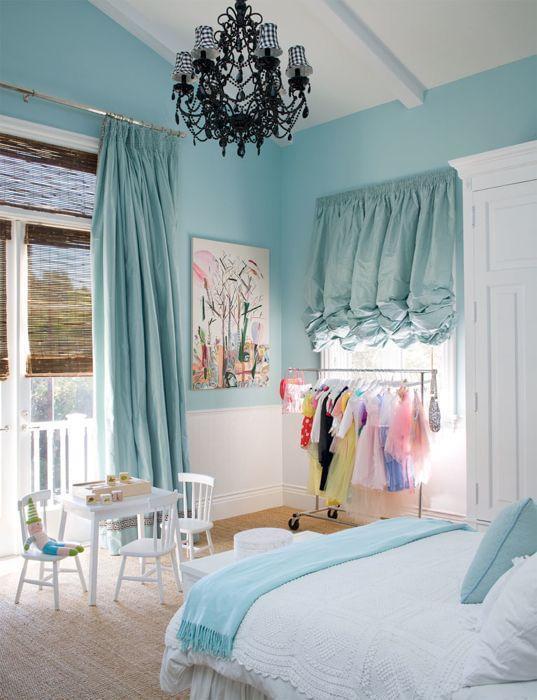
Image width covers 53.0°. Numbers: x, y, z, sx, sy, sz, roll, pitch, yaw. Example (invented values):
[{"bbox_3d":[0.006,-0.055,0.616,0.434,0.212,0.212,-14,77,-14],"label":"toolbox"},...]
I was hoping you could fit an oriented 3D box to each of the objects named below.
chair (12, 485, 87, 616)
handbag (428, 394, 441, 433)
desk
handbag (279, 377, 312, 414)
[{"bbox_3d":[-1.172,1.058,2.853,0.294,0.512,0.294,1,-5,-9],"label":"chair"},{"bbox_3d":[1.202,0.469,3.882,0.093,0.285,0.227,-3,-4,17],"label":"handbag"},{"bbox_3d":[-0.795,1.023,2.884,0.781,0.587,0.509,-5,-5,31],"label":"desk"},{"bbox_3d":[0.212,0.372,4.439,0.273,0.499,0.268,0,-5,7],"label":"handbag"}]
